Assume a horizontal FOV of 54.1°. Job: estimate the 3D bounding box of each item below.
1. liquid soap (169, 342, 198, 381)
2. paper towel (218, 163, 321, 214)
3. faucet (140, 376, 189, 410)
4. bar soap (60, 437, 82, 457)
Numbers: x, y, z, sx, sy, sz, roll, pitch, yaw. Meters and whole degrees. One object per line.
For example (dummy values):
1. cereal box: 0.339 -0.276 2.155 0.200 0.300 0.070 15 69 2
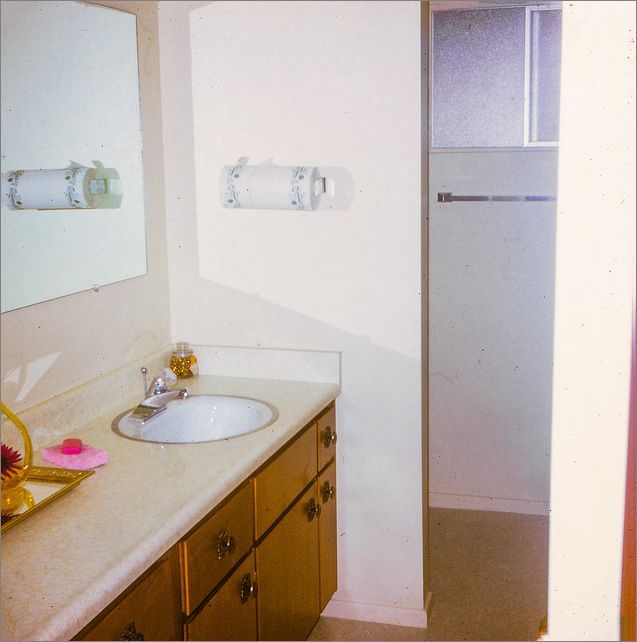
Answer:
1. liquid soap: -0.429 0.124 1.963 0.081 0.143 0.089 -1 1 21
2. paper towel: -0.136 -0.412 1.849 0.266 0.159 0.139 5 16 14
3. faucet: -0.424 0.184 1.735 0.045 0.111 0.150 7 16 38
4. bar soap: -0.534 0.270 1.344 0.040 0.021 0.059 -3 11 -25
